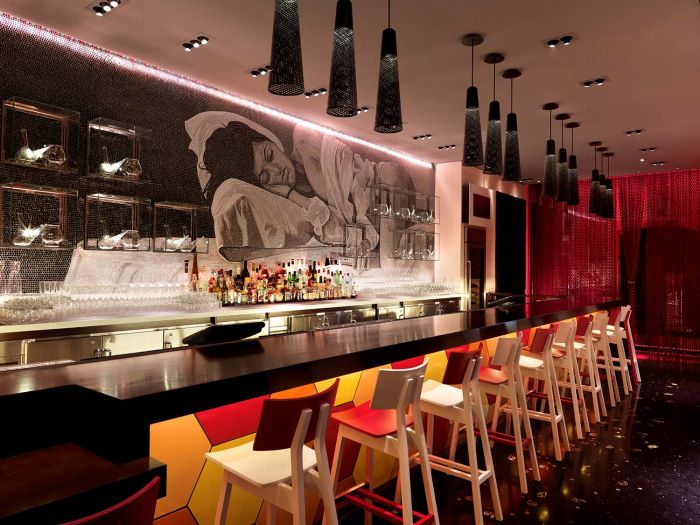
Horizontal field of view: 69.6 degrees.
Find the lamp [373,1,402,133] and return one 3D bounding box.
[{"bbox_3d":[0.295,-1.384,3.794,0.193,0.783,0.167,1,3,4],"label":"lamp"}]

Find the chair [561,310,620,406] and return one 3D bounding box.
[{"bbox_3d":[3.134,1.173,6.430,0.633,1.109,0.616,-16,8,-17],"label":"chair"}]

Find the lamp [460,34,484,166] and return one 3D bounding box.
[{"bbox_3d":[1.159,-1.514,4.741,0.294,1.231,0.307,-1,0,21],"label":"lamp"}]

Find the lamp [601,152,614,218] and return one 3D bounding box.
[{"bbox_3d":[4.155,-1.198,8.099,0.182,1.046,0.180,-4,12,2],"label":"lamp"}]

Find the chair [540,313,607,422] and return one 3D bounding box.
[{"bbox_3d":[2.707,1.254,6.037,0.814,1.168,0.814,-4,-7,-38],"label":"chair"}]

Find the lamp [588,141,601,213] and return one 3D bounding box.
[{"bbox_3d":[3.686,-1.228,7.537,0.162,0.983,0.170,1,0,18],"label":"lamp"}]

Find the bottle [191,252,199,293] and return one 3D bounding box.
[{"bbox_3d":[-1.853,0.115,5.994,0.087,0.432,0.155,0,4,-18],"label":"bottle"}]

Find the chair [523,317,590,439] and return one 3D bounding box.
[{"bbox_3d":[2.058,1.330,5.467,0.799,1.283,0.798,-3,3,22],"label":"chair"}]
